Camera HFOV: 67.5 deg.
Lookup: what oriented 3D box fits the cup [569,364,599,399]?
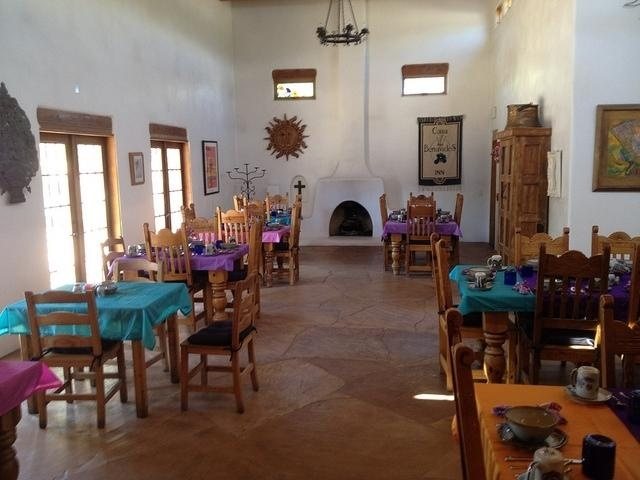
[{"bbox_3d":[1.296,0.698,2.392,0.109,0.165,0.176,0,5,6],"label":"cup"}]

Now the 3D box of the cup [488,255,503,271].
[{"bbox_3d":[1.728,0.230,4.712,0.165,0.164,0.114,-3,7,-7],"label":"cup"}]

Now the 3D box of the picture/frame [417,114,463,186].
[{"bbox_3d":[2.782,-2.048,11.078,0.987,1.554,0.209,-1,12,4],"label":"picture/frame"}]

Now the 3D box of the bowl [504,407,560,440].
[{"bbox_3d":[0.922,0.802,2.066,0.196,0.086,0.203,-5,4,0],"label":"bowl"}]

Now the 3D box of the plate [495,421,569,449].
[{"bbox_3d":[0.927,0.846,2.068,0.293,0.036,0.152,-1,11,3],"label":"plate"}]

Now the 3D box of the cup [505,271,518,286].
[{"bbox_3d":[1.628,0.334,4.098,0.111,0.126,0.118,0,-2,0],"label":"cup"}]
